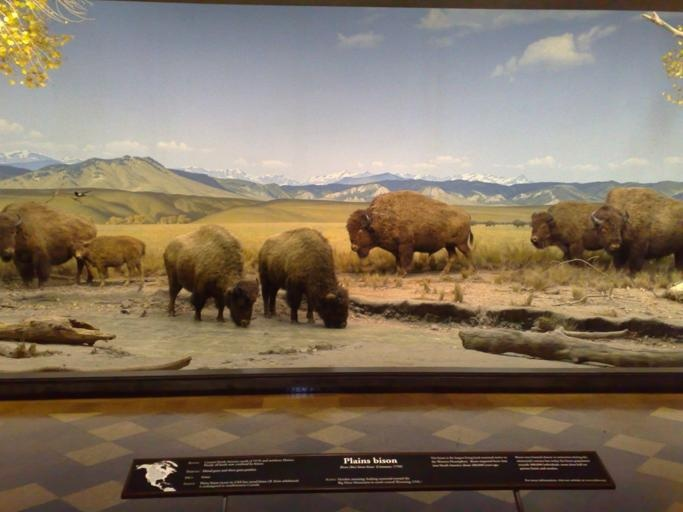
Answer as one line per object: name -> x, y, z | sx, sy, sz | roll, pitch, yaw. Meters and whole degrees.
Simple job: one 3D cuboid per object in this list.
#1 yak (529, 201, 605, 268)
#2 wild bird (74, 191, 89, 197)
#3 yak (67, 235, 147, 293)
yak -> 2.563, -0.324, 5.605 | 1.156, 0.616, 0.416 | -2, 1, 3
wild bird -> -2.849, -0.675, 5.115 | 0.081, 0.033, 0.080 | 10, 17, 11
yak -> -2.584, 0.046, 5.263 | 0.764, 0.556, 0.242 | 0, 3, -1
